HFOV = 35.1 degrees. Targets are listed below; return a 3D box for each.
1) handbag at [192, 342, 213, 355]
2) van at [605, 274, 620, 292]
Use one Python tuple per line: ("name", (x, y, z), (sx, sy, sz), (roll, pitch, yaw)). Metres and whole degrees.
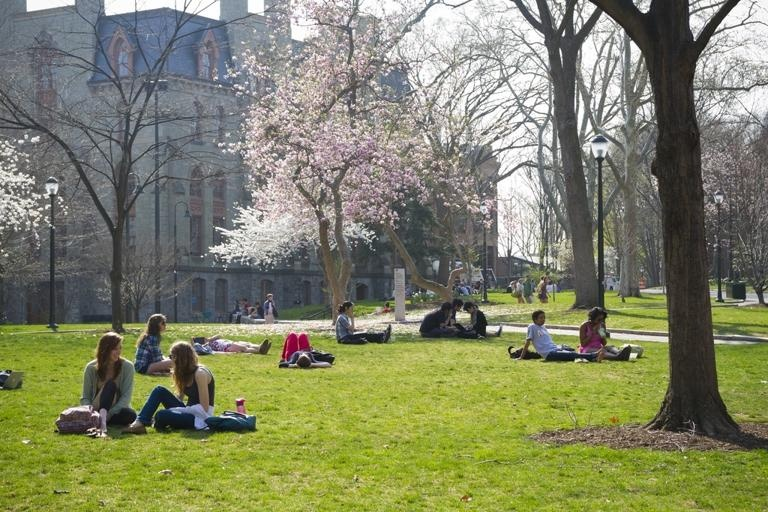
("handbag", (-7.435, 3.771, 49.331), (0.594, 0.229, 0.495), (23, 7, 41))
("van", (19.648, 2.231, 102.476), (1.171, 1.170, 1.918), (3, 5, 38))
